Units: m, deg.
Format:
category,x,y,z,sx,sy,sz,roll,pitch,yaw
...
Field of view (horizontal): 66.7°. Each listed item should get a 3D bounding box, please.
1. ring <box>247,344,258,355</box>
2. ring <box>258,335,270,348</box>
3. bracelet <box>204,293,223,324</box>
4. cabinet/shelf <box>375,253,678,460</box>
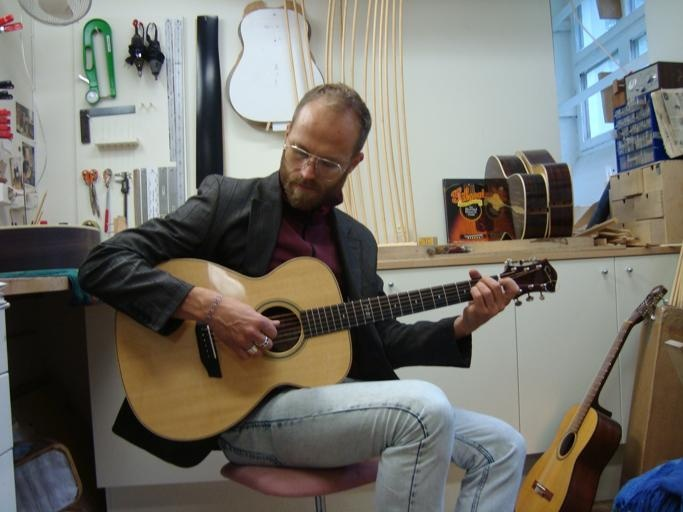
category,x,y,z,sx,sy,sz,roll,pitch,yaw
ring,-0.329,0.351,1.938,0.033,0.025,0.035,-47,13,14
ring,-0.286,0.319,1.950,0.030,0.018,0.041,10,4,-33
bracelet,-0.480,0.201,1.950,0.076,0.112,0.048,-3,4,-42
cabinet/shelf,0.920,0.527,2.603,0.894,1.045,0.342,0,-11,-6
